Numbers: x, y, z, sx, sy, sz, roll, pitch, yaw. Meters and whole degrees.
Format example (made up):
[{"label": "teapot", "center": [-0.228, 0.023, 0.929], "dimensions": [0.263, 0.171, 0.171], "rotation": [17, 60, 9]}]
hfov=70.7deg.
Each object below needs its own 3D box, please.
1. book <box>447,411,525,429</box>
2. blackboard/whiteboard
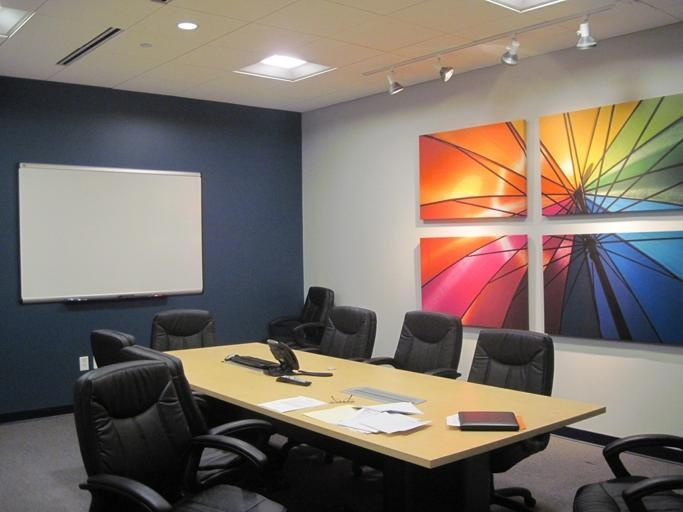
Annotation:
[{"label": "book", "center": [0.737, 0.841, 2.439], "dimensions": [0.242, 0.031, 0.130], "rotation": [-1, 1, 0]}, {"label": "blackboard/whiteboard", "center": [-2.675, -0.272, 5.456], "dimensions": [1.749, 1.222, 0.072], "rotation": [-1, -1, -38]}]
